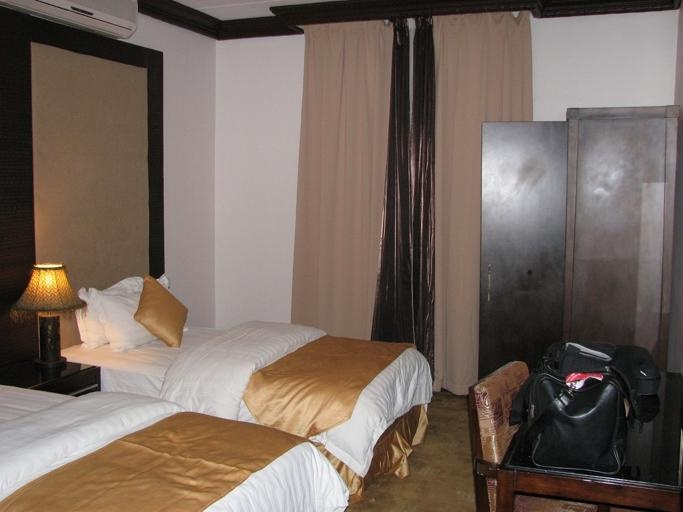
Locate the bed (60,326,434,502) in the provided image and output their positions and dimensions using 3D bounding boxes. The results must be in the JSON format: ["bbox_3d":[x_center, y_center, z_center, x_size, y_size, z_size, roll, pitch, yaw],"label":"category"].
[{"bbox_3d":[-0.587,0.829,3.660,1.874,0.631,1.236,3,8,20],"label":"bed"}]

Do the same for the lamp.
[{"bbox_3d":[-2.074,0.439,3.798,0.438,0.703,0.422,0,1,-25],"label":"lamp"}]

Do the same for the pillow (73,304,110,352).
[{"bbox_3d":[-1.873,0.547,4.032,0.110,0.311,0.276,-23,13,0],"label":"pillow"}]

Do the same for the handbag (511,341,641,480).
[{"bbox_3d":[0.954,0.524,2.197,0.375,0.513,0.538,5,27,33],"label":"handbag"}]
